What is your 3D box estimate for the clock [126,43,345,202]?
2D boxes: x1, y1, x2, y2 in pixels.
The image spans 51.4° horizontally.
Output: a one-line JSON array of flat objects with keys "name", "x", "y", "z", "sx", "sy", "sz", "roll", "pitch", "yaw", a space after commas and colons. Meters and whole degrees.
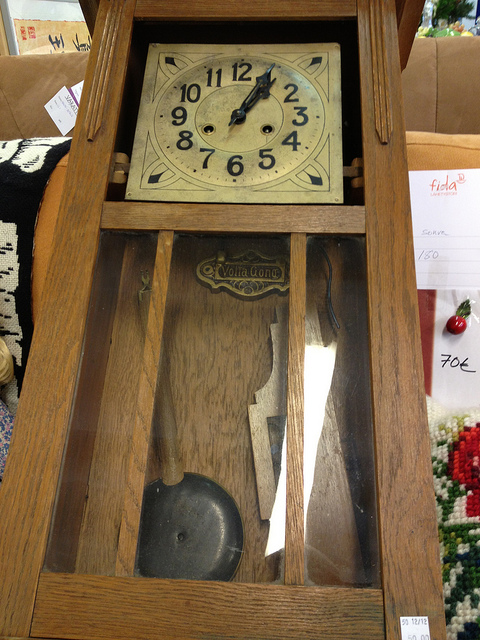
[{"name": "clock", "x": -0.003, "y": -0.293, "z": 0.716, "sx": 0.300, "sy": 0.237, "sz": 0.115, "roll": 2, "pitch": 0, "yaw": 10}]
